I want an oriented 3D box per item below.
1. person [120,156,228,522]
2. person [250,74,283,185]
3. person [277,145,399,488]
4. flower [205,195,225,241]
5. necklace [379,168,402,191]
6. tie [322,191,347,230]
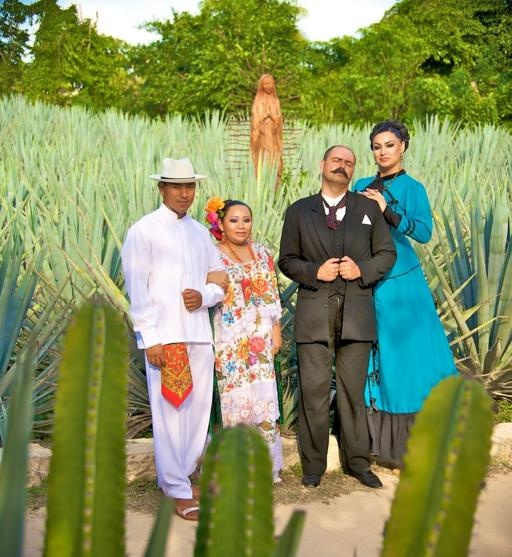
[{"bbox_3d":[-0.422,0.298,3.291,0.478,1.875,0.495,0,1,9],"label":"person"},{"bbox_3d":[0.141,-1.932,7.726,0.413,1.560,1.263,0,1,-1],"label":"person"},{"bbox_3d":[0.479,0.229,3.618,0.693,2.005,0.388,0,1,0],"label":"person"},{"bbox_3d":[-0.231,-0.351,3.653,0.134,0.262,0.123,-7,6,27],"label":"flower"},{"bbox_3d":[0.855,-0.633,3.857,0.141,0.035,0.111,-32,-10,38],"label":"necklace"},{"bbox_3d":[0.465,-0.410,3.589,0.120,0.192,0.040,10,-33,14],"label":"tie"}]
